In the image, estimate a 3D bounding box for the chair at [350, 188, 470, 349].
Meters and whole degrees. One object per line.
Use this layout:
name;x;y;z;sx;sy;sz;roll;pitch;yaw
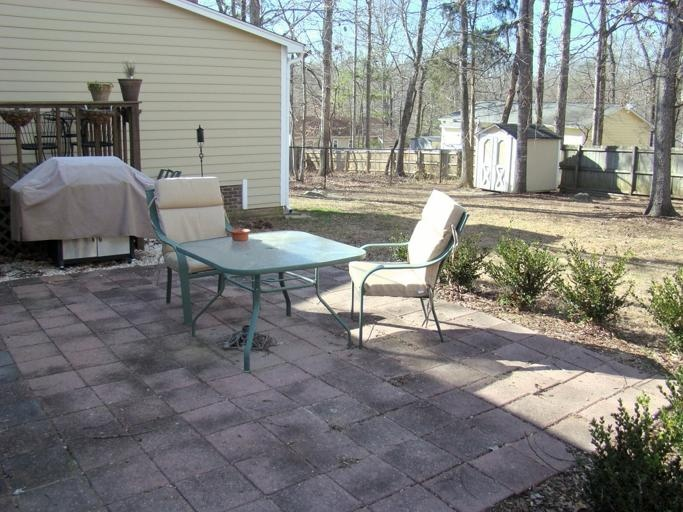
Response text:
chair;0.617;0.062;5.106;1.018;1.419;0.980;-1;13;-11
